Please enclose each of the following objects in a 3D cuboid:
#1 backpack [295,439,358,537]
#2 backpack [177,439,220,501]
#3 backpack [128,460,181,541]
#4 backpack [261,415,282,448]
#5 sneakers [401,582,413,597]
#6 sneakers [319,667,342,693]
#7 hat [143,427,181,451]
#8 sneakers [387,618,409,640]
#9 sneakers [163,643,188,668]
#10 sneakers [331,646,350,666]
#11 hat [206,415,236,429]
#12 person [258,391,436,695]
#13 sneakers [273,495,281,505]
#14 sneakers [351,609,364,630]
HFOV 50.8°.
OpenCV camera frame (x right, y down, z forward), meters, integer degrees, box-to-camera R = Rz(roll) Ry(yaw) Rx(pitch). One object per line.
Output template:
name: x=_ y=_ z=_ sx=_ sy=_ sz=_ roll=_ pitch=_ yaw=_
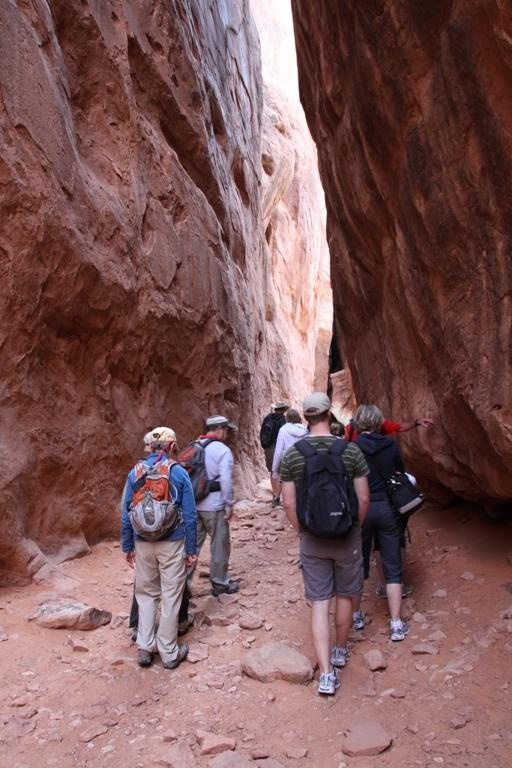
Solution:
backpack: x=0.334 y=0.528 z=2.572 sx=0.245 sy=0.493 sz=0.253 roll=-2 pitch=-19 yaw=-4
backpack: x=-0.402 y=0.613 z=4.118 sx=0.355 sy=0.455 sz=0.293 roll=-3 pitch=13 yaw=5
backpack: x=-0.581 y=0.648 z=3.015 sx=0.219 sy=0.435 sz=0.216 roll=-4 pitch=3 yaw=-11
backpack: x=0.264 y=0.699 z=8.084 sx=0.403 sy=0.495 sz=0.289 roll=15 pitch=-5 yaw=-3
sneakers: x=1.066 y=1.447 z=3.793 sx=0.035 sy=0.096 sz=0.116 roll=1 pitch=-2 yaw=28
sneakers: x=0.352 y=1.444 z=2.627 sx=0.055 sy=0.086 sz=0.181 roll=0 pitch=-17 yaw=10
hat: x=-0.594 y=0.329 z=3.310 sx=0.135 sy=0.125 sz=0.199 roll=2 pitch=-5 yaw=-27
sneakers: x=0.823 y=1.414 z=3.107 sx=0.058 sy=0.087 sz=0.166 roll=-8 pitch=-9 yaw=13
sneakers: x=-0.459 y=1.548 z=3.111 sx=0.051 sy=0.096 sz=0.178 roll=6 pitch=7 yaw=12
sneakers: x=0.440 y=1.441 z=2.841 sx=0.062 sy=0.073 sz=0.139 roll=4 pitch=-3 yaw=10
hat: x=-0.272 y=0.315 z=4.360 sx=0.211 sy=0.109 sz=0.138 roll=9 pitch=-8 yaw=-41
person: x=0.398 y=0.767 z=2.689 sx=0.480 sy=0.986 sz=0.402 roll=-2 pitch=-3 yaw=-39
sneakers: x=0.307 y=1.687 z=7.802 sx=0.076 sy=0.164 sz=0.145 roll=-3 pitch=-14 yaw=12
sneakers: x=0.645 y=1.491 z=3.460 sx=0.088 sy=0.148 sz=0.287 roll=-3 pitch=-16 yaw=9
